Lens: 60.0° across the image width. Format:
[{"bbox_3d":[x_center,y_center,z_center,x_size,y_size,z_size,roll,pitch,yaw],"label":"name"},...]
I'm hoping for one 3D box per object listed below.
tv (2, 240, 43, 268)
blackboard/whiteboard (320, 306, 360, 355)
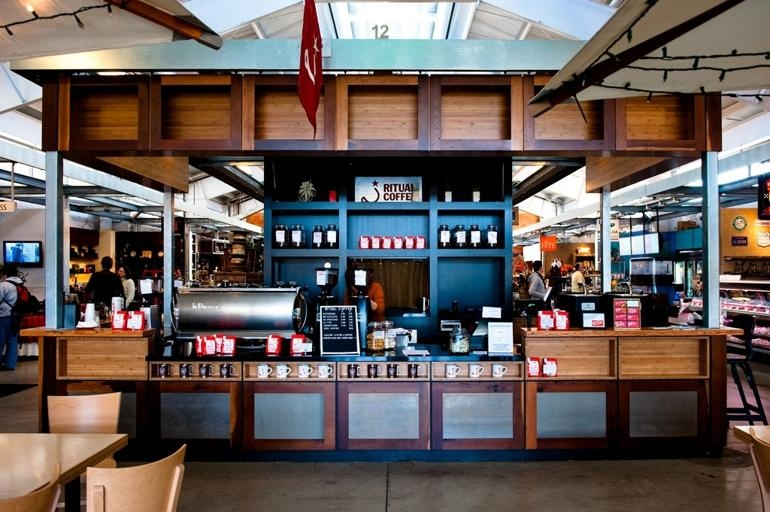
[{"bbox_3d":[-7.930,-0.014,14.693,0.678,0.426,0.086,0,-6,-6],"label":"tv"},{"bbox_3d":[-0.532,0.904,7.870,0.656,0.717,0.076,-1,-19,-4],"label":"blackboard/whiteboard"}]
